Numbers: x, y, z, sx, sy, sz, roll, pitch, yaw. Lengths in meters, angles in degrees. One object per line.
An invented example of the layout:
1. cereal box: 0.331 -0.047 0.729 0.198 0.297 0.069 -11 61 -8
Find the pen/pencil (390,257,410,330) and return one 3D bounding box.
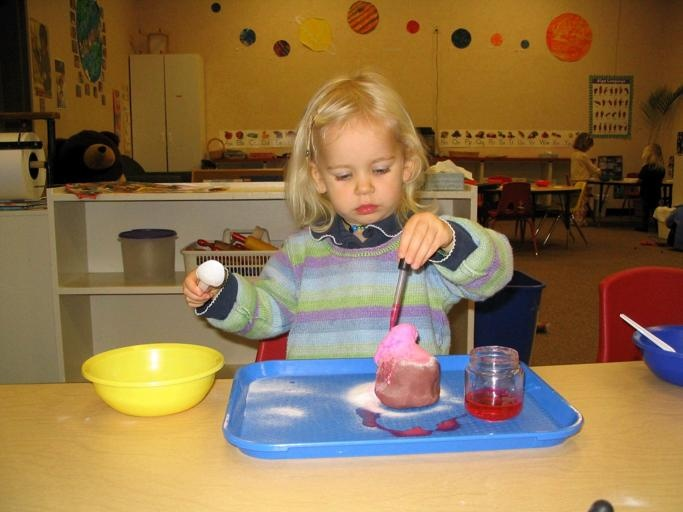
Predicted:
1. pen/pencil: 0.128 0.087 1.228 0.021 0.161 0.022 23 27 25

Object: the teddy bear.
1. teddy bear: -1.714 -0.683 4.018 0.509 0.386 1.485 -6 13 -21

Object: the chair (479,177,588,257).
1. chair: 1.950 -0.203 5.858 1.076 0.705 1.112 -1 9 13

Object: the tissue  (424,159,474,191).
1. tissue : 0.443 -0.316 2.386 0.182 0.115 0.176 0 7 3

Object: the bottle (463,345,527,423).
1. bottle: 0.254 0.207 0.956 0.109 0.116 0.111 -1 -2 15

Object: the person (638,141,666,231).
1. person: 3.946 -0.864 7.259 0.270 1.075 1.519 6 14 29

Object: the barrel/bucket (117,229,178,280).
1. barrel/bucket: -0.809 -0.001 2.386 0.223 0.196 0.216 0 2 0
